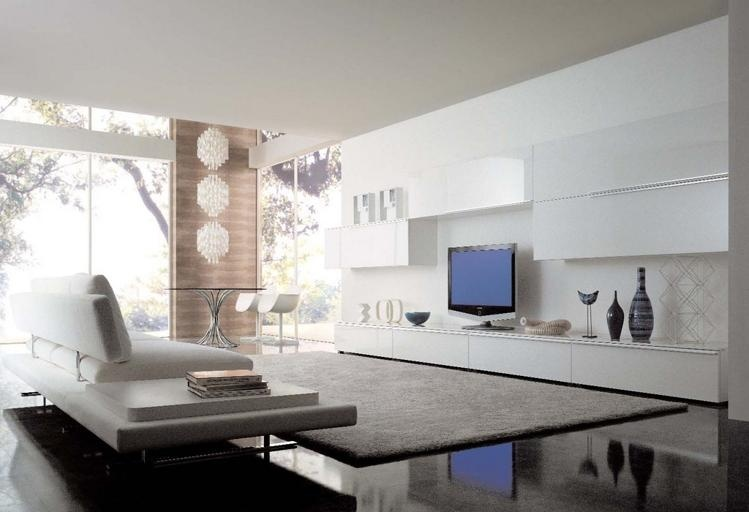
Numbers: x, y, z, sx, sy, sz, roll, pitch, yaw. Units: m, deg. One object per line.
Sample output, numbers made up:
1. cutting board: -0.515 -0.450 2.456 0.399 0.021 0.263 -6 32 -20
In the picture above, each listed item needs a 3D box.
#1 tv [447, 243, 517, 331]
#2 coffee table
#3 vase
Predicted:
1. tv: 1.295 0.352 6.253 0.513 0.957 1.059 -2 1 -37
2. coffee table: -0.851 0.821 2.886 1.398 0.224 0.666 0 -2 -17
3. vase: 2.372 0.436 4.964 0.396 0.680 0.598 -1 -2 27
